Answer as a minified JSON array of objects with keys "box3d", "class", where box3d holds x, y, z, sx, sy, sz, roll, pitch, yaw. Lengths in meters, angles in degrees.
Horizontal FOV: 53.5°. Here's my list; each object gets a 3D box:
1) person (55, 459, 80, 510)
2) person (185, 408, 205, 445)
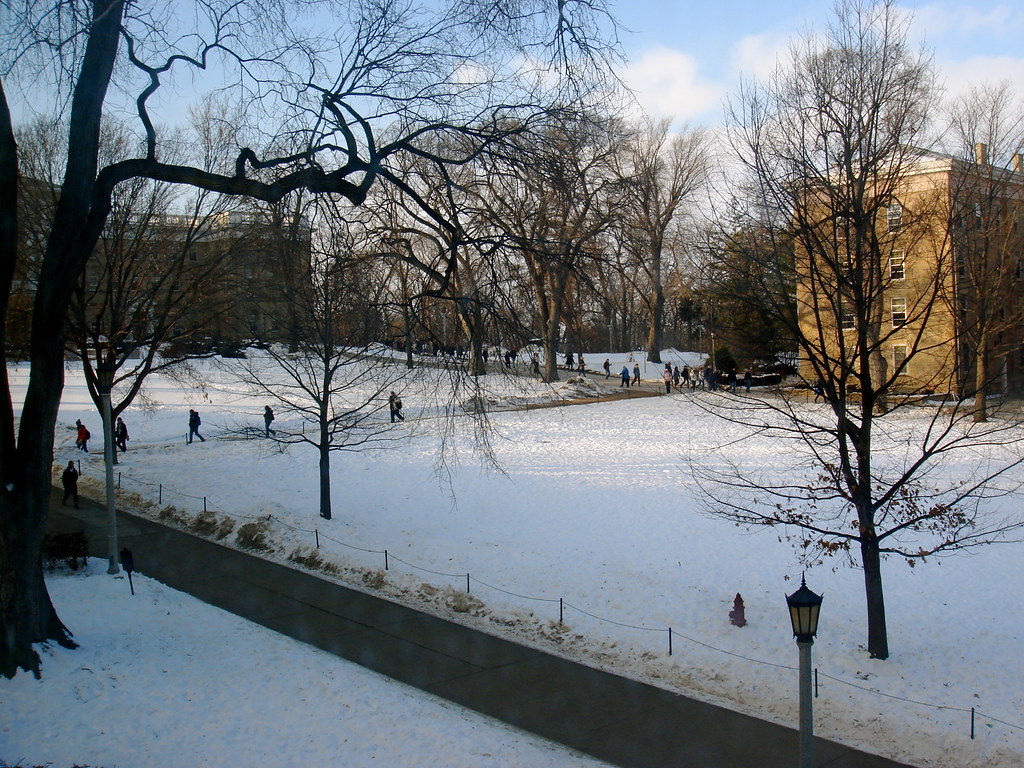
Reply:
[{"box3d":[-14.631,3.236,33.545,0.493,1.475,1.795,-1,1,-24],"class":"person"},{"box3d":[-13.752,1.818,44.154,0.716,1.403,1.908,0,1,-18],"class":"person"}]
